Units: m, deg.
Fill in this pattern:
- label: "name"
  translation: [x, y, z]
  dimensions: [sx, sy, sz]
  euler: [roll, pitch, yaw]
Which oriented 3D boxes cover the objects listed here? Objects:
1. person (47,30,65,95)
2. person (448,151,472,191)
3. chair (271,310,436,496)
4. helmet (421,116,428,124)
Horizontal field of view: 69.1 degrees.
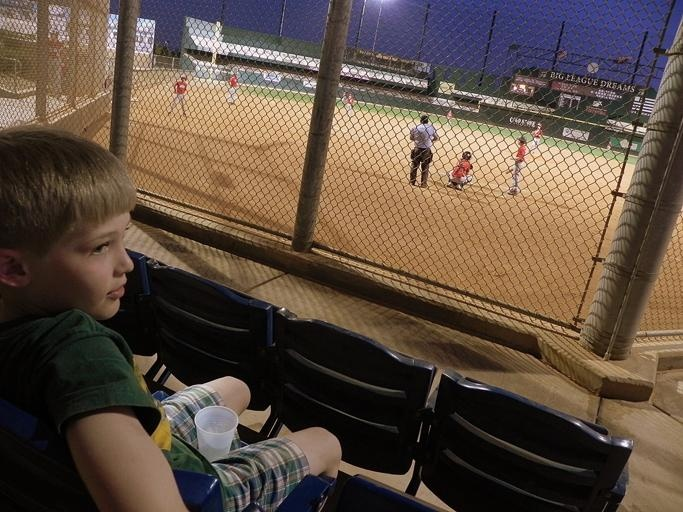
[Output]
- label: "person"
  translation: [-4.086, -2.732, 7.063]
  dimensions: [0.207, 0.875, 1.139]
  euler: [-2, 26, -28]
- label: "person"
  translation: [2.388, -1.690, 9.759]
  dimensions: [0.517, 0.711, 0.415]
  euler: [17, 1, 34]
- label: "chair"
  translation: [0.083, 0.417, 2.045]
  dimensions: [0.586, 0.578, 0.538]
  euler: [20, 34, 20]
- label: "helmet"
  translation: [1.741, -2.838, 10.300]
  dimensions: [0.188, 0.143, 0.256]
  euler: [-2, 13, -20]
